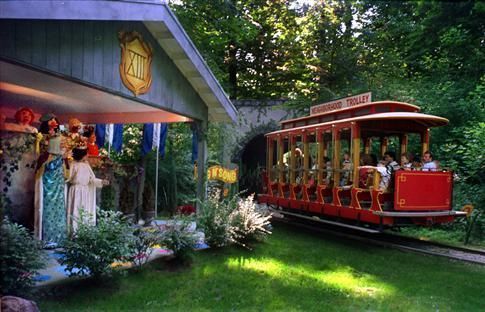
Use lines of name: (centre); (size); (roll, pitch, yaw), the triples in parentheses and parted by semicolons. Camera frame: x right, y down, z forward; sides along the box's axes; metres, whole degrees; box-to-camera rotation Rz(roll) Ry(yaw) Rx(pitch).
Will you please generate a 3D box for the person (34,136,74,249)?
person: (-5.523, 1.010, 11.455); (0.883, 3.123, 0.970); (-2, 14, -15)
